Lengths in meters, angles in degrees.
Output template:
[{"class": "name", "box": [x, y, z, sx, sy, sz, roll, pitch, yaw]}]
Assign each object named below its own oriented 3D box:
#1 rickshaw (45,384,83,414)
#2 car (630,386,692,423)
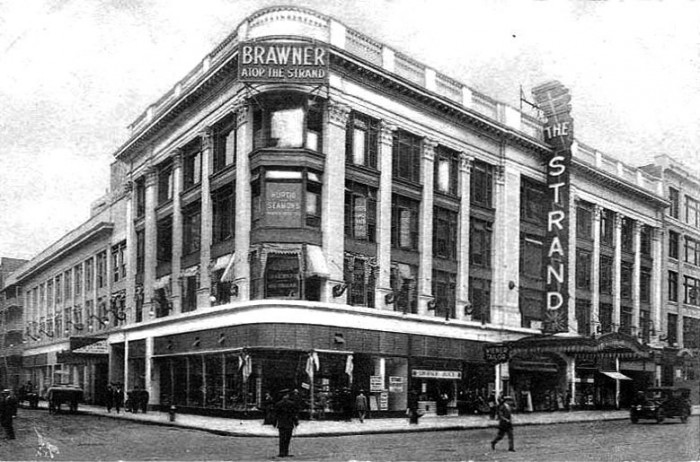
[{"class": "rickshaw", "box": [-20.392, 11.844, 93.641, 2.021, 1.147, 2.357, 1, -2, -13]}, {"class": "car", "box": [21.322, 11.941, 90.047, 4.141, 2.510, 1.214, 0, -19, -1]}]
